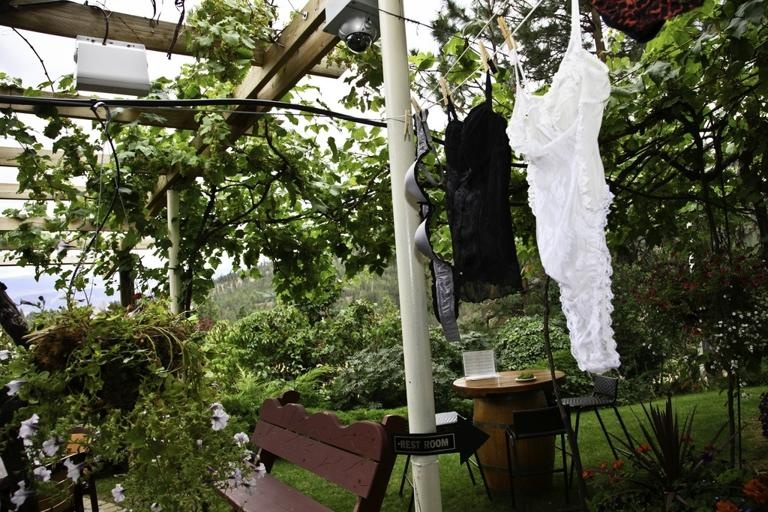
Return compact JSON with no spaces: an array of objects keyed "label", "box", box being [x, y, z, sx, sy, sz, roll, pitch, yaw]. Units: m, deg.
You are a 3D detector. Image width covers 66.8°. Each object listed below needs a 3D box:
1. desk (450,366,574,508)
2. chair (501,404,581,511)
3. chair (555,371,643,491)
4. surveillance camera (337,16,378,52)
[{"label":"desk","box":[1.226,1.686,6.007,1.207,1.208,1.312,-2,-2,10]},{"label":"chair","box":[1.398,1.813,5.369,0.608,0.900,1.141,-10,-10,14]},{"label":"chair","box":[2.090,1.649,5.812,0.598,0.847,0.539,-2,-2,-15]},{"label":"surveillance camera","box":[-0.189,-1.543,4.116,0.264,0.196,0.261,11,11,-15]}]
